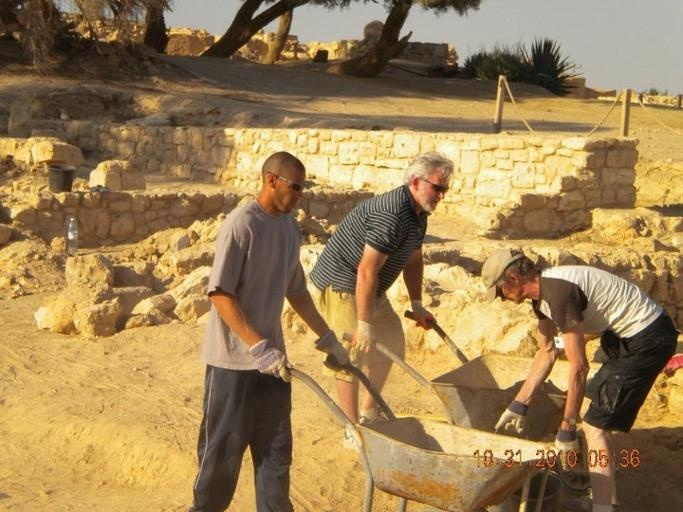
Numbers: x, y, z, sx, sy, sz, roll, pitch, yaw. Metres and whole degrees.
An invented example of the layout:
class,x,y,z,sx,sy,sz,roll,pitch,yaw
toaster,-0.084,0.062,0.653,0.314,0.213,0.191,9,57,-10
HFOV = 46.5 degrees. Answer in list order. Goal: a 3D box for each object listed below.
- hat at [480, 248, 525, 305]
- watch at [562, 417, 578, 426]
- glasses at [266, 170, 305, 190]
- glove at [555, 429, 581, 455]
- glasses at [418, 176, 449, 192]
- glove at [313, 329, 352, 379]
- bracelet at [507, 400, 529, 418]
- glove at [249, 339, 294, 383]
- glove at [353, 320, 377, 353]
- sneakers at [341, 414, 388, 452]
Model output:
class,x,y,z,sx,sy,sz,roll,pitch,yaw
hat,1.236,0.150,6.082,0.283,0.403,0.186,1,10,-21
watch,1.736,1.261,6.022,0.071,0.080,0.029,23,-2,-6
glasses,-0.395,-0.556,5.965,0.172,0.050,0.170,30,4,16
glove,1.745,1.398,6.069,0.188,0.204,0.139,0,14,-1
glasses,0.767,-0.583,6.502,0.146,0.045,0.149,16,19,-47
glove,-0.042,0.815,6.318,0.146,0.202,0.502,-19,-33,9
bracelet,1.363,1.178,6.101,0.114,0.073,0.119,27,-10,26
glove,-0.514,0.777,5.781,0.252,0.319,0.140,-16,9,18
glove,0.186,0.665,6.509,0.166,0.247,0.085,9,3,17
sneakers,0.171,1.407,6.296,0.213,0.293,0.666,-1,-9,-2
